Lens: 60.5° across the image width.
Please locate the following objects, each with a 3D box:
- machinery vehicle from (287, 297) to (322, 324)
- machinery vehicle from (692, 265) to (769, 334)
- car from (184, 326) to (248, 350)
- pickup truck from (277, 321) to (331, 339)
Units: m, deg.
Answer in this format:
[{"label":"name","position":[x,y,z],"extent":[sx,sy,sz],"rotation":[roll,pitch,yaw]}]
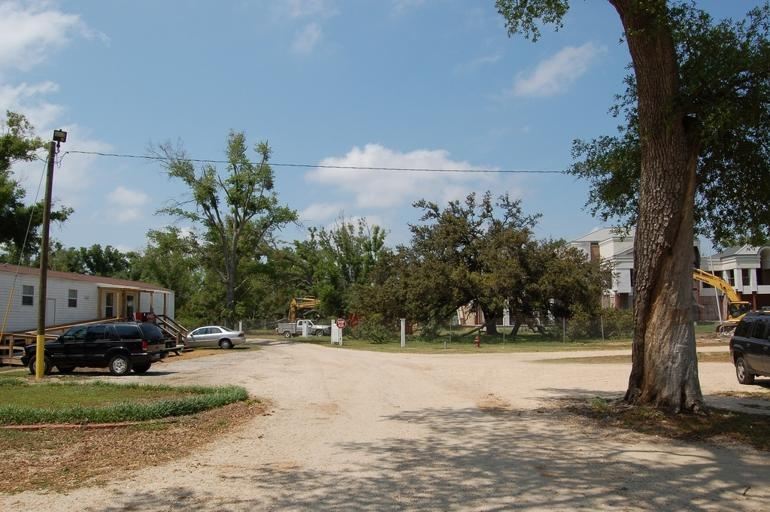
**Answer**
[{"label":"machinery vehicle","position":[-9.100,5.746,72.266],"extent":[2.722,2.762,6.028],"rotation":[2,-9,-14]},{"label":"machinery vehicle","position":[26.199,3.371,51.688],"extent":[4.853,4.883,1.811],"rotation":[0,-7,30]},{"label":"car","position":[-11.284,5.515,44.125],"extent":[3.673,1.235,1.610],"rotation":[2,-6,-1]},{"label":"pickup truck","position":[-8.138,7.084,64.926],"extent":[5.983,1.669,3.046],"rotation":[-6,-11,37]}]
